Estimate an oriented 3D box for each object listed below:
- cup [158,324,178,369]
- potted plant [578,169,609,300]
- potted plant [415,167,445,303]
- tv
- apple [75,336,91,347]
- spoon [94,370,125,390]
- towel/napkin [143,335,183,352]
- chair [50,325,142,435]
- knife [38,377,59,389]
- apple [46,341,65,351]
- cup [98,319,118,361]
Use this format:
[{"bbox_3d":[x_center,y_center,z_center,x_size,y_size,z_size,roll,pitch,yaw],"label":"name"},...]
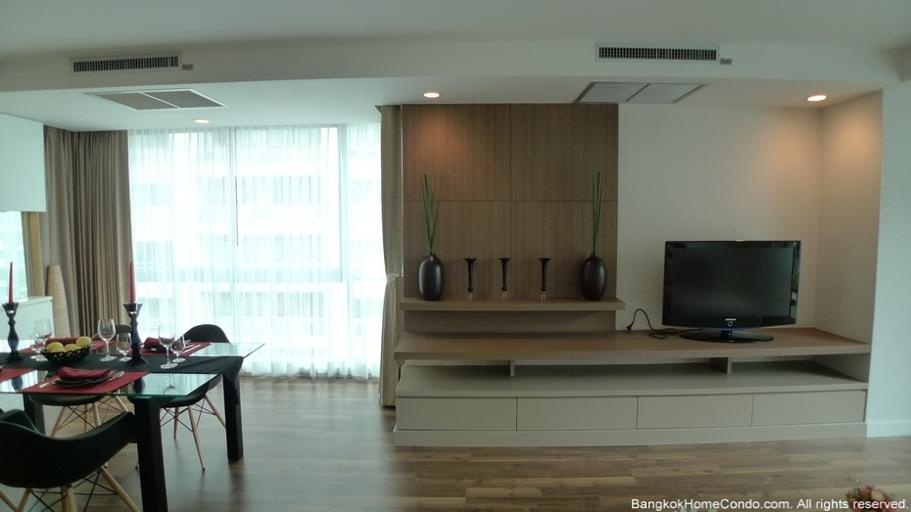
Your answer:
[{"bbox_3d":[-2.953,0.916,7.081,0.227,0.440,0.192,-2,-4,-1],"label":"cup"},{"bbox_3d":[1.611,-0.250,8.008,0.244,1.526,0.342,1,4,44],"label":"potted plant"},{"bbox_3d":[-0.304,-0.217,7.998,0.286,1.467,0.224,-2,3,-2],"label":"potted plant"},{"bbox_3d":[3.116,0.402,7.991,1.851,1.143,0.485,1,3,-16],"label":"tv"},{"bbox_3d":[-3.847,0.906,7.123,0.151,0.113,0.118,-1,31,-22],"label":"apple"},{"bbox_3d":[-3.356,1.197,6.701,0.077,0.038,0.244,11,12,3],"label":"spoon"},{"bbox_3d":[-3.079,0.910,7.142,0.384,0.170,0.151,-3,-10,12],"label":"towel/napkin"},{"bbox_3d":[-3.762,1.494,7.003,0.679,0.755,0.593,18,-13,-30],"label":"chair"},{"bbox_3d":[-3.941,1.228,6.672,0.153,0.069,0.139,-1,2,25],"label":"knife"},{"bbox_3d":[-4.042,0.911,6.963,0.110,0.093,0.133,4,-6,-3],"label":"apple"},{"bbox_3d":[-3.660,0.877,7.219,0.200,0.399,0.183,-7,-2,0],"label":"cup"}]
